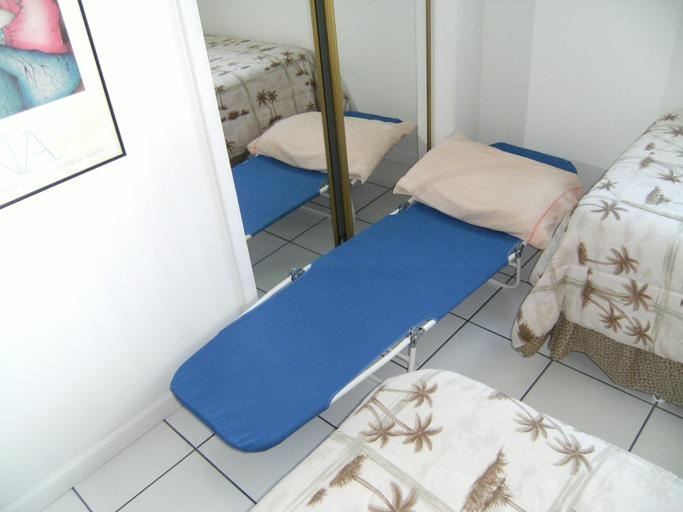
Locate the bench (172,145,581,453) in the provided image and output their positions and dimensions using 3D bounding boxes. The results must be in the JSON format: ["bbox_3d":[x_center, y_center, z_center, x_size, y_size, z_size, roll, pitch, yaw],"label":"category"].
[{"bbox_3d":[0.270,0.009,2.492,0.733,0.182,2.468,25,47,29],"label":"bench"}]

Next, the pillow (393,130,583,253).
[{"bbox_3d":[0.913,-0.422,2.854,0.931,0.228,0.714,24,51,31],"label":"pillow"}]

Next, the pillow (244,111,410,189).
[{"bbox_3d":[-0.102,-0.691,2.852,0.505,0.132,0.541,17,38,23],"label":"pillow"}]
